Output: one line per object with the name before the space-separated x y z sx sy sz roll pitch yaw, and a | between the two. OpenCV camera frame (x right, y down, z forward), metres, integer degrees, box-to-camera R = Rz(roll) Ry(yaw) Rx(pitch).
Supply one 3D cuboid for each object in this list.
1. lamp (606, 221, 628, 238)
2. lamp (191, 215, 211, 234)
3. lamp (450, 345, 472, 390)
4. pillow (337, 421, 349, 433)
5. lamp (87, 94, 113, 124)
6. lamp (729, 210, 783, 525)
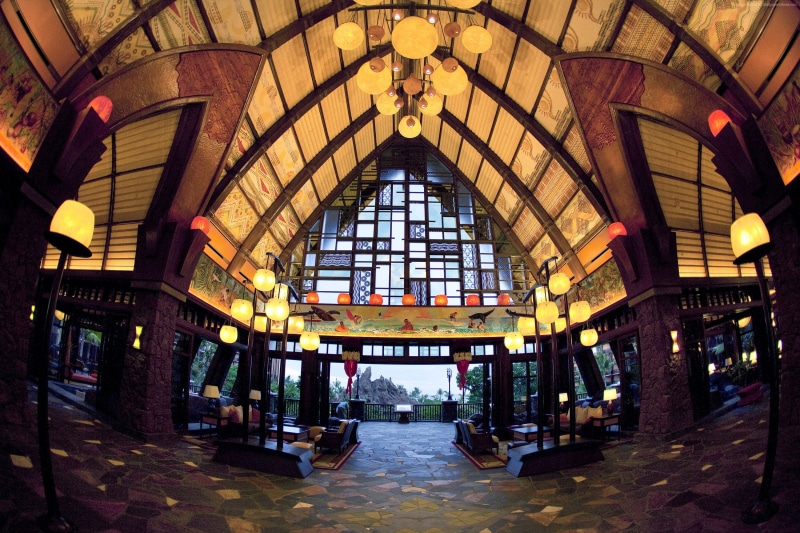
lamp | 5.320 -0.890 11.600 0.385 0.483 0.378 -2 2 -45
lamp | -4.877 -1.036 11.648 0.381 0.492 0.392 2 -2 -13
lamp | 2.314 3.792 17.785 0.809 1.369 0.828 6 -2 3
pillow | -1.471 4.073 11.840 0.233 0.234 0.416 8 -48 -10
lamp | -5.644 -3.001 8.932 0.189 0.597 0.569 6 -1 -3
lamp | 5.128 1.355 6.794 0.673 4.449 1.306 4 -2 40
